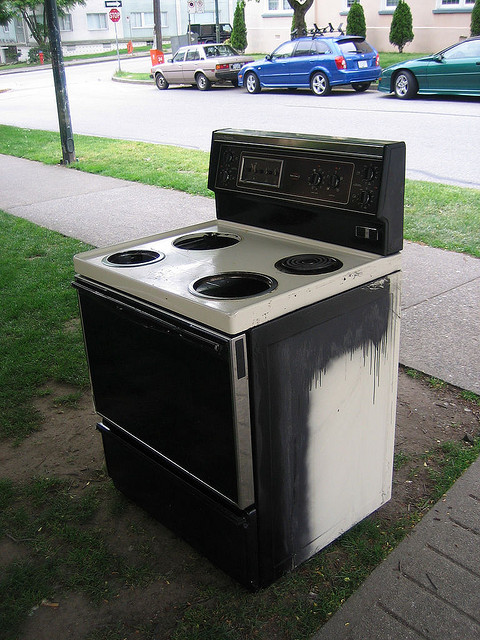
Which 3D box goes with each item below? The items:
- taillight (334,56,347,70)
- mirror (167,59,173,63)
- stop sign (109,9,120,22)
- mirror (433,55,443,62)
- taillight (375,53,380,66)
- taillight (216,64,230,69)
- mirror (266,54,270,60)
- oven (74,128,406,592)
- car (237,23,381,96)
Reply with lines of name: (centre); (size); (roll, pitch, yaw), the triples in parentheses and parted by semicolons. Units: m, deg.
taillight: (3.001, -7.686, 14.434); (0.230, 0.426, 0.308); (-2, 32, 14)
mirror: (-2.879, -10.638, 19.765); (0.231, 0.113, 0.312); (-1, 18, -4)
stop sign: (-7.343, -17.682, 27.969); (0.435, 0.786, 1.669); (-5, 23, -9)
mirror: (5.048, -6.642, 12.275); (0.087, 0.164, 0.284); (-9, 24, -18)
taillight: (4.334, -8.192, 15.268); (0.090, 0.300, 0.526); (5, 23, 15)
taillight: (-0.680, -9.549, 18.215); (0.481, 0.152, 0.139); (-3, 23, -3)
mirror: (0.923, -8.758, 16.093); (0.109, 0.134, 0.194); (-8, 21, -17)
oven: (-0.022, 0.078, 1.710); (0.809, 1.282, 0.964); (-15, 26, -26)
car: (1.998, -8.337, 16.169); (4.974, 1.661, 2.045); (17, 29, 38)
